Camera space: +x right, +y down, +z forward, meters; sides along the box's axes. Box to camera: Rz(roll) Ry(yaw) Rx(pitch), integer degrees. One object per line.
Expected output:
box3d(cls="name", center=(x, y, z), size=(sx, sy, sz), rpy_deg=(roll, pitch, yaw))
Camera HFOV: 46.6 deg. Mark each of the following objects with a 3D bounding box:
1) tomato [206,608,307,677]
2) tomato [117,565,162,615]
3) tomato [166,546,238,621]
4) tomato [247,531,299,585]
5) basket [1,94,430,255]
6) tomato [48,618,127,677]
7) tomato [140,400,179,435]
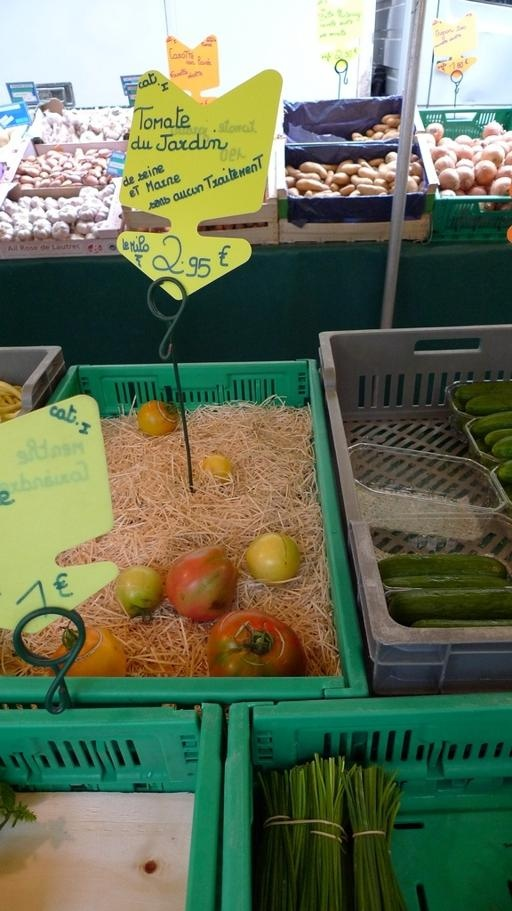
box3d(cls="tomato", center=(0.000, 0.320, 1.050), size=(0.112, 0.122, 0.126), rpy_deg=(-8, 59, -4))
box3d(cls="tomato", center=(-0.235, 0.278, 1.210), size=(0.082, 0.098, 0.076), rpy_deg=(14, 34, 25))
box3d(cls="tomato", center=(-0.106, 0.263, 1.173), size=(0.140, 0.149, 0.094), rpy_deg=(-5, 31, -6))
box3d(cls="tomato", center=(0.036, 0.217, 1.261), size=(0.103, 0.109, 0.103), rpy_deg=(0, 22, 0))
box3d(cls="basket", center=(-0.197, -1.349, 3.058), size=(2.027, 0.392, 0.922), rpy_deg=(-1, 32, 1))
box3d(cls="tomato", center=(-0.275, 0.352, 1.037), size=(0.077, 0.087, 0.116), rpy_deg=(-2, 31, 0))
box3d(cls="tomato", center=(-0.294, -0.114, 1.832), size=(0.101, 0.105, 0.104), rpy_deg=(-7, 47, -39))
